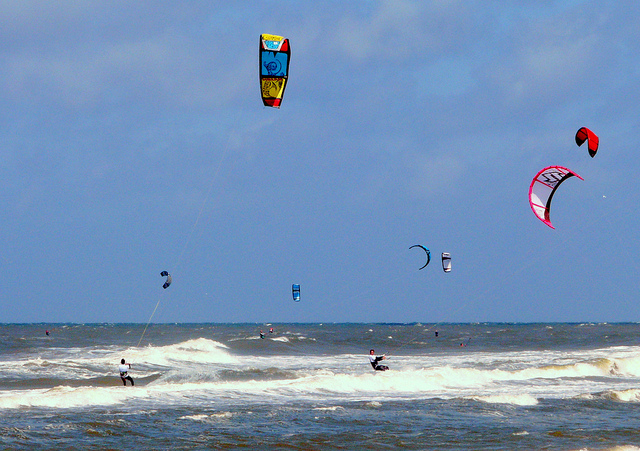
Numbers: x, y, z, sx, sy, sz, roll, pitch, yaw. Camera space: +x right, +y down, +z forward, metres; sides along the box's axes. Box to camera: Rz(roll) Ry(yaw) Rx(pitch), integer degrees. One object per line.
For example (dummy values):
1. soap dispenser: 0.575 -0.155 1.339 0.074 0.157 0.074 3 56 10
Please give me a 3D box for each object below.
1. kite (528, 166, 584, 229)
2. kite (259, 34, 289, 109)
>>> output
1. kite: 9.360 -1.069 48.198 1.169 2.676 2.416 5 -66 -7
2. kite: -1.711 -5.839 46.416 1.214 0.157 2.867 1 -71 -8
